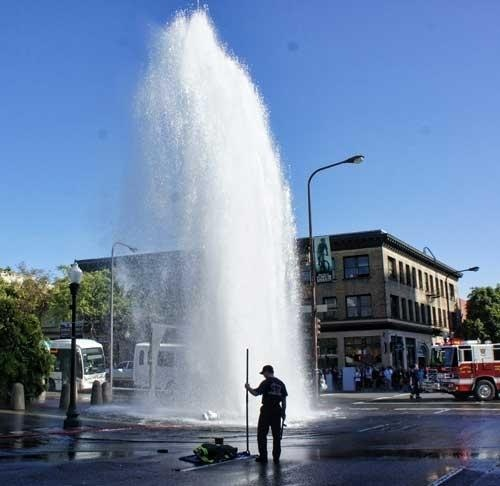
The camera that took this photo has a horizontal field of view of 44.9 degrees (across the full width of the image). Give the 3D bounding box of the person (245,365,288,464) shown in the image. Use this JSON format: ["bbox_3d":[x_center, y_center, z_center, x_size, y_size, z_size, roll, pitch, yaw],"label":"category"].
[{"bbox_3d":[0.336,2.994,10.752,0.631,1.621,1.433,-2,-12,4],"label":"person"}]

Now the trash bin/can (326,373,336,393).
[{"bbox_3d":[6.127,10.652,46.119,0.842,1.886,0.917,-3,-3,21],"label":"trash bin/can"}]

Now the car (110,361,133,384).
[{"bbox_3d":[-8.925,9.328,42.861,1.899,1.104,1.165,-1,-11,21],"label":"car"}]
